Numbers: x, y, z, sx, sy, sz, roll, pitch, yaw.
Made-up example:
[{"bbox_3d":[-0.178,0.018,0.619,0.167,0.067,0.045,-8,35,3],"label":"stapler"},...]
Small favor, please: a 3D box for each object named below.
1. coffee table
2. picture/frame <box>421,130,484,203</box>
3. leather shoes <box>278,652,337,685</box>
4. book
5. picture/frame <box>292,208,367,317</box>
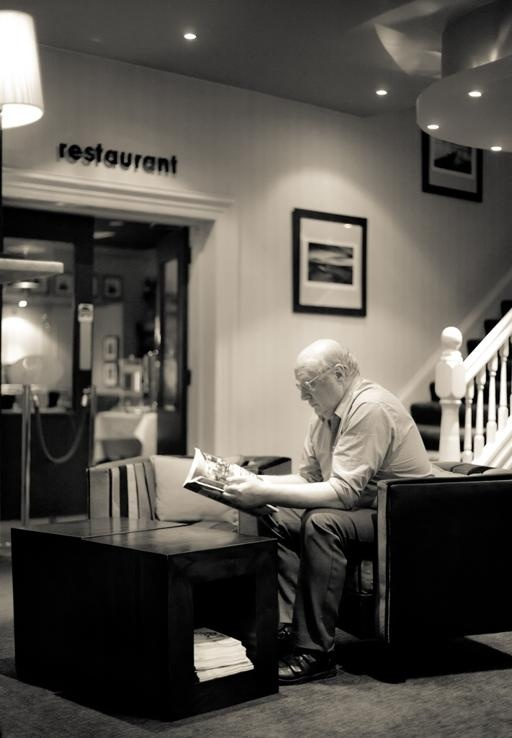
[{"bbox_3d":[-0.348,0.628,1.935,0.540,0.408,0.323,0,0,31],"label":"coffee table"},{"bbox_3d":[1.462,-1.525,5.514,0.439,0.590,0.036,2,-4,-35],"label":"picture/frame"},{"bbox_3d":[0.134,0.797,1.969,0.162,0.096,0.065,6,-8,-27],"label":"leather shoes"},{"bbox_3d":[-0.071,0.337,2.060,0.264,0.159,0.068,34,-43,-22],"label":"book"},{"bbox_3d":[0.491,-0.736,5.102,0.647,0.906,0.035,2,-2,-30],"label":"picture/frame"}]
